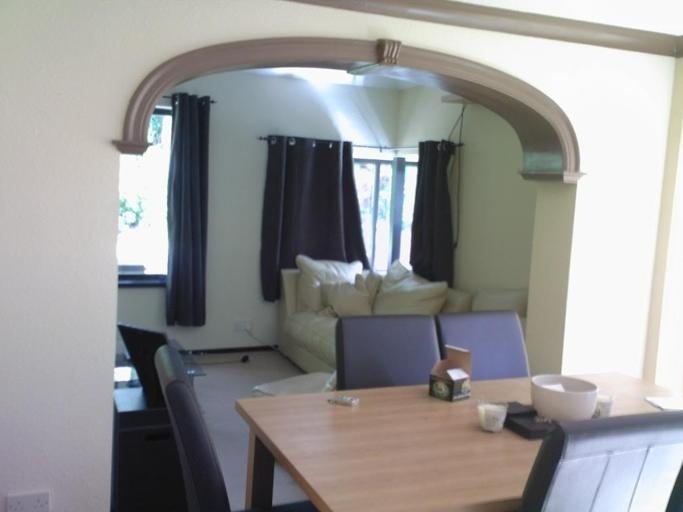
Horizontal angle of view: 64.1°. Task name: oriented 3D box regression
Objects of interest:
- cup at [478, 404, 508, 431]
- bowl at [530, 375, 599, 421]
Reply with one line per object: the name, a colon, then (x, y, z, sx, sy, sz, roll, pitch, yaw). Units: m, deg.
cup: (0.565, 0.595, 2.055, 0.094, 0.088, 0.086, 0, 2, 0)
bowl: (0.871, 0.574, 2.127, 0.285, 0.182, 0.287, 7, -12, 1)
